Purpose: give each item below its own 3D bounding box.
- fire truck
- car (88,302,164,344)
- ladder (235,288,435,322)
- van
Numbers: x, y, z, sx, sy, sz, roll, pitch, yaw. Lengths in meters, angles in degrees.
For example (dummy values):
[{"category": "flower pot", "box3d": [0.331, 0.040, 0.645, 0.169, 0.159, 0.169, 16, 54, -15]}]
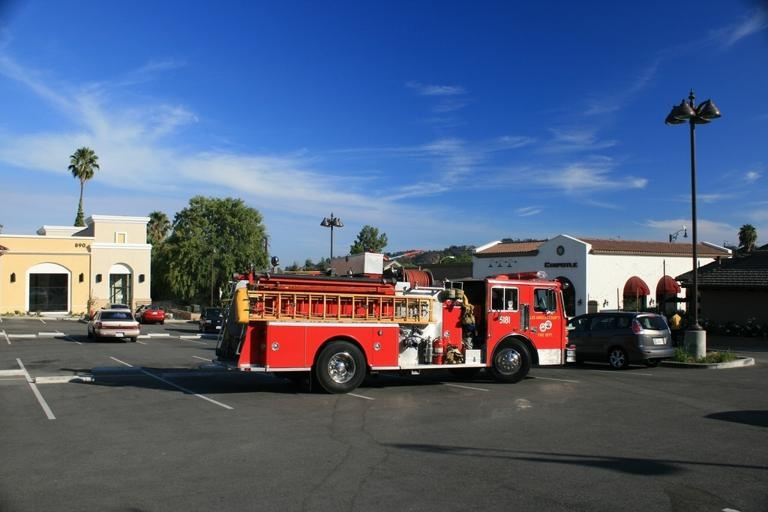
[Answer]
[{"category": "fire truck", "box3d": [0.715, 2.245, 20.456, 10.108, 3.696, 3.667, 1, -7, -15]}, {"category": "car", "box3d": [-15.118, 3.782, 36.662, 2.208, 1.754, 6.131, 3, -5, -26]}, {"category": "ladder", "box3d": [-1.328, 1.396, 18.279, 5.387, 0.883, 0.433, 2, -4, -17]}, {"category": "van", "box3d": [8.600, 3.235, 25.638, 2.773, 2.046, 4.861, 4, -6, -37]}]
